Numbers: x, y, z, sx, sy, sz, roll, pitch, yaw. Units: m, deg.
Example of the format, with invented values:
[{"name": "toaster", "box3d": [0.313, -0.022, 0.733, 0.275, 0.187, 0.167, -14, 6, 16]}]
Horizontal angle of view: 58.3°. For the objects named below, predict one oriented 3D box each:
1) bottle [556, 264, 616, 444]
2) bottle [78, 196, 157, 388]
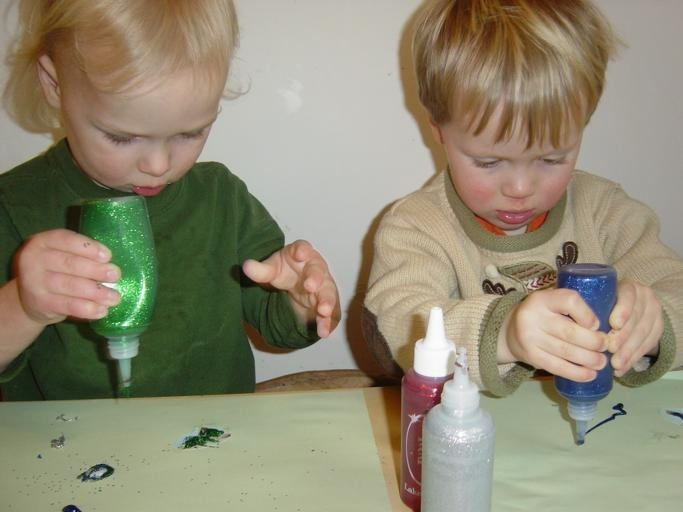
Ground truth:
[{"name": "bottle", "box3d": [0.336, 0.129, 0.856, 0.083, 0.253, 0.133, 6, 26, 20]}, {"name": "bottle", "box3d": [-0.316, 0.059, 0.898, 0.107, 0.288, 0.107, -3, 25, 1]}]
